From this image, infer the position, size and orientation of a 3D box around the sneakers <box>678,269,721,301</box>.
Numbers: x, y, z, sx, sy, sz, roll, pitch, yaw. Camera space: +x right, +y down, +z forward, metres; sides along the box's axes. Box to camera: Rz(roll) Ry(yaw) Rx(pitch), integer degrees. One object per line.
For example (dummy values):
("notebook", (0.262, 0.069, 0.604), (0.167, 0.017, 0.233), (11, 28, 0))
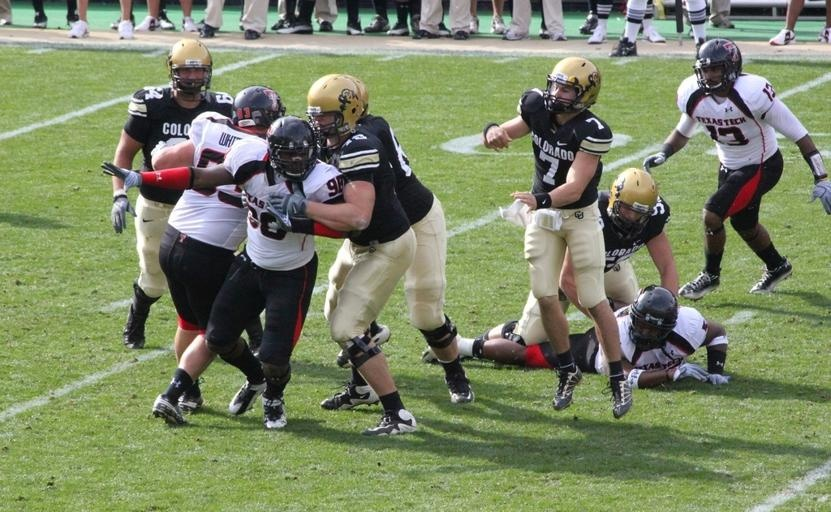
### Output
("sneakers", (2.555, 0.281, 9.778), (0.332, 0.135, 0.114), (-25, 35, 1))

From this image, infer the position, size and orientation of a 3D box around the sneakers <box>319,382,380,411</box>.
("sneakers", (-0.485, 1.030, 8.091), (0.551, 0.242, 0.171), (-1, 8, -5))

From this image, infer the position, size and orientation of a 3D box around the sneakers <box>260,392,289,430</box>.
("sneakers", (-1.021, 1.108, 7.846), (0.195, 0.216, 0.382), (-6, 27, -2))

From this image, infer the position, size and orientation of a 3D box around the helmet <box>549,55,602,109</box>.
("helmet", (1.194, -1.305, 8.214), (0.481, 0.337, 0.353), (-19, 31, -21))

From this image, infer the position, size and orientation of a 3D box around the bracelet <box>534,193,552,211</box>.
("bracelet", (0.919, -0.385, 7.933), (0.092, 0.106, 0.107), (-4, -32, -12))

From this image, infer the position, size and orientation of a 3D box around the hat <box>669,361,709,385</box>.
("hat", (2.096, 0.900, 8.322), (0.276, 0.150, 0.156), (3, 12, 6))

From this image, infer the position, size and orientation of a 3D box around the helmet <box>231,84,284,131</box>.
("helmet", (-1.174, -1.062, 7.959), (0.344, 0.307, 0.434), (14, 23, 39))

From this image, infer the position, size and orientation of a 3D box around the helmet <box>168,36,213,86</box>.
("helmet", (-1.829, -1.524, 8.764), (0.344, 0.377, 0.333), (-1, 12, -13))

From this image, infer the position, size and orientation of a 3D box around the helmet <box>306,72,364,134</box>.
("helmet", (-0.579, -1.067, 7.813), (0.489, 0.378, 0.357), (-19, 16, -28))

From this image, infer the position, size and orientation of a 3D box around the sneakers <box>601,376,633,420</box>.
("sneakers", (1.485, 1.028, 8.018), (0.176, 0.338, 0.120), (35, -44, -20))

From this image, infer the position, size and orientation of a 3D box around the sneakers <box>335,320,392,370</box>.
("sneakers", (-0.401, 0.659, 8.643), (0.153, 0.187, 0.465), (22, 36, 40))

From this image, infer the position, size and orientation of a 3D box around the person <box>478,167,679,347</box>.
("person", (1.314, 0.204, 8.837), (1.664, 1.668, 1.143), (8, 7, 4))

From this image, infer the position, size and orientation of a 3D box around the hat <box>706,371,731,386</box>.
("hat", (2.305, 0.935, 8.315), (0.127, 0.034, 0.097), (14, 13, 30))

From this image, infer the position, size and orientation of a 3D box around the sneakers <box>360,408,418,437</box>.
("sneakers", (-0.162, 1.188, 7.777), (0.467, 0.173, 0.156), (-1, 0, 1))

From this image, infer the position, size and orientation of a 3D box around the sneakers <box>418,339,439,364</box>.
("sneakers", (0.100, 0.808, 8.761), (0.084, 0.093, 0.236), (15, -5, -24))

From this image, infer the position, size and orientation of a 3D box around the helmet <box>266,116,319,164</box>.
("helmet", (-0.872, -0.790, 7.523), (0.345, 0.328, 0.431), (-8, 30, -20))

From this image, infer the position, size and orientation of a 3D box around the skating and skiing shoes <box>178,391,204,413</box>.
("skating and skiing shoes", (-1.641, 1.073, 7.931), (0.080, 0.092, 0.227), (19, 14, 41))

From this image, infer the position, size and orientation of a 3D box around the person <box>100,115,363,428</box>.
("person", (-1.148, 0.134, 7.637), (1.308, 2.182, 0.447), (1, 12, -4))

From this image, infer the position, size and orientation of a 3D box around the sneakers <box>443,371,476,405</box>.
("sneakers", (0.324, 0.998, 8.185), (0.129, 0.129, 0.310), (-7, 10, -15))

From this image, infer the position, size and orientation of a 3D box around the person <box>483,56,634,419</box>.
("person", (1.127, -0.168, 8.145), (0.774, 2.530, 1.317), (-4, 13, -23))

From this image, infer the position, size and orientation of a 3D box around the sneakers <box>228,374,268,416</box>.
("sneakers", (-1.233, 1.022, 7.986), (0.140, 0.413, 0.177), (46, -1, 6))
